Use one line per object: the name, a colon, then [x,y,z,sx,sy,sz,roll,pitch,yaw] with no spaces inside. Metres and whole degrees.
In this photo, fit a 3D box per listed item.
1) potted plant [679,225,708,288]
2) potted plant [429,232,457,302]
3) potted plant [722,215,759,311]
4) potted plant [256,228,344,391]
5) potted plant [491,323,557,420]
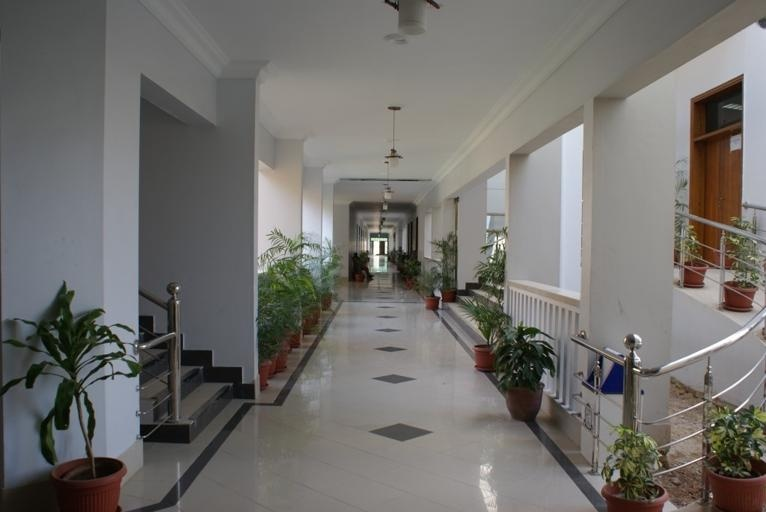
potted plant: [4.188,0.006,6.451,0.340,0.653,0.332,-5,9,-2]
potted plant: [1.453,0.220,11.064,0.466,1.553,0.686,1,4,4]
potted plant: [4.532,0.077,6.046,0.392,1.112,1.400,4,5,36]
potted plant: [-1.072,0.560,6.779,0.789,1.038,2.494,1,2,-2]
potted plant: [1.339,1.133,4.622,0.588,0.853,0.653,7,-9,-35]
